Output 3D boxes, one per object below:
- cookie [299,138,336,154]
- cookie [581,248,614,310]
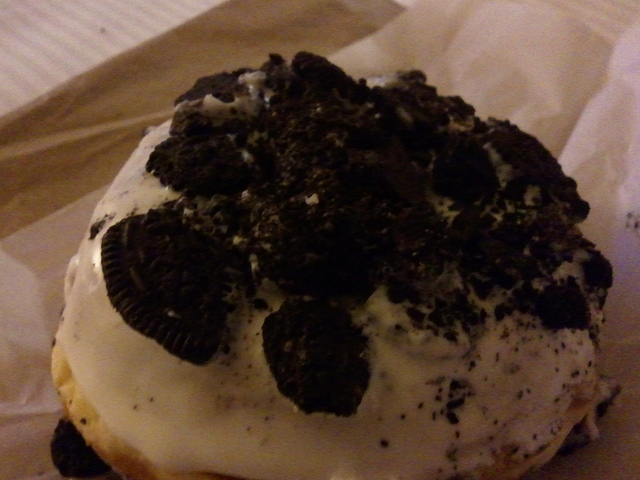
[{"bbox_3d":[-0.009,-0.803,8.605,0.549,0.055,0.098,-7,74,-1],"label":"cookie"},{"bbox_3d":[2.455,0.294,8.607,0.558,0.176,0.409,-23,102,-40],"label":"cookie"}]
